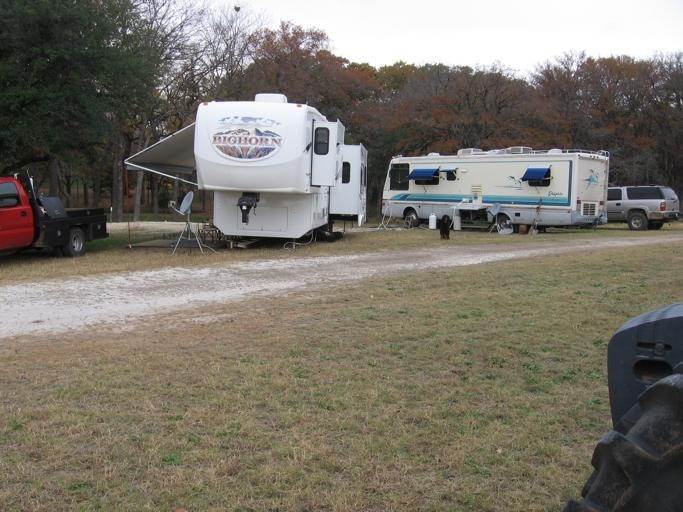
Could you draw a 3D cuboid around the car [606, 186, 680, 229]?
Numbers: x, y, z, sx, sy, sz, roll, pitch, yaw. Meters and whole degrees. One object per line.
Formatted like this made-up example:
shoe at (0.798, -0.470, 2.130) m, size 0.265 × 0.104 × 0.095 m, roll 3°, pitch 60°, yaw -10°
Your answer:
car at (12.118, -1.992, 25.597) m, size 1.660 × 1.358 × 3.017 m, roll -5°, pitch 10°, yaw -44°
